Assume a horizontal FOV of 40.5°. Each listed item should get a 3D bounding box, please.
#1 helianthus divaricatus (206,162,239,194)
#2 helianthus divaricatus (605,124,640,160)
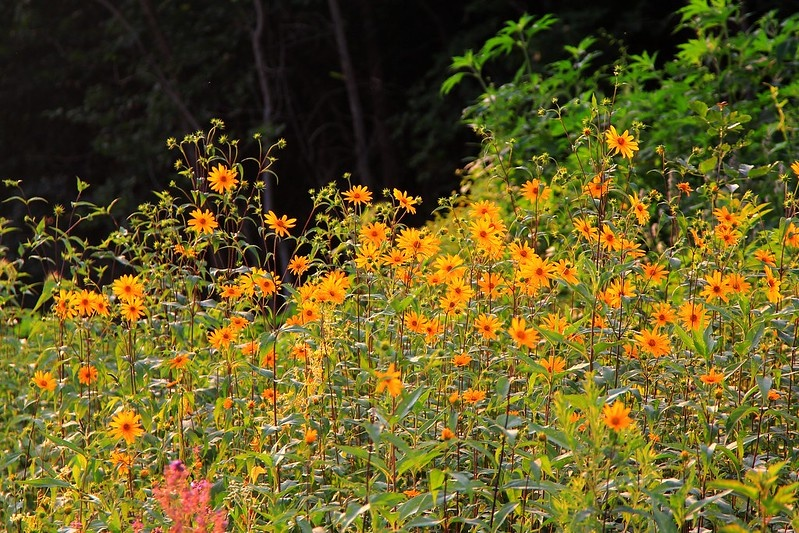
[{"bbox_3d":[-0.878,-0.432,5.365,0.148,0.156,0.161,-21,15,-5],"label":"helianthus divaricatus"},{"bbox_3d":[1.043,-0.595,5.238,0.043,0.165,0.173,127,160,-58],"label":"helianthus divaricatus"}]
